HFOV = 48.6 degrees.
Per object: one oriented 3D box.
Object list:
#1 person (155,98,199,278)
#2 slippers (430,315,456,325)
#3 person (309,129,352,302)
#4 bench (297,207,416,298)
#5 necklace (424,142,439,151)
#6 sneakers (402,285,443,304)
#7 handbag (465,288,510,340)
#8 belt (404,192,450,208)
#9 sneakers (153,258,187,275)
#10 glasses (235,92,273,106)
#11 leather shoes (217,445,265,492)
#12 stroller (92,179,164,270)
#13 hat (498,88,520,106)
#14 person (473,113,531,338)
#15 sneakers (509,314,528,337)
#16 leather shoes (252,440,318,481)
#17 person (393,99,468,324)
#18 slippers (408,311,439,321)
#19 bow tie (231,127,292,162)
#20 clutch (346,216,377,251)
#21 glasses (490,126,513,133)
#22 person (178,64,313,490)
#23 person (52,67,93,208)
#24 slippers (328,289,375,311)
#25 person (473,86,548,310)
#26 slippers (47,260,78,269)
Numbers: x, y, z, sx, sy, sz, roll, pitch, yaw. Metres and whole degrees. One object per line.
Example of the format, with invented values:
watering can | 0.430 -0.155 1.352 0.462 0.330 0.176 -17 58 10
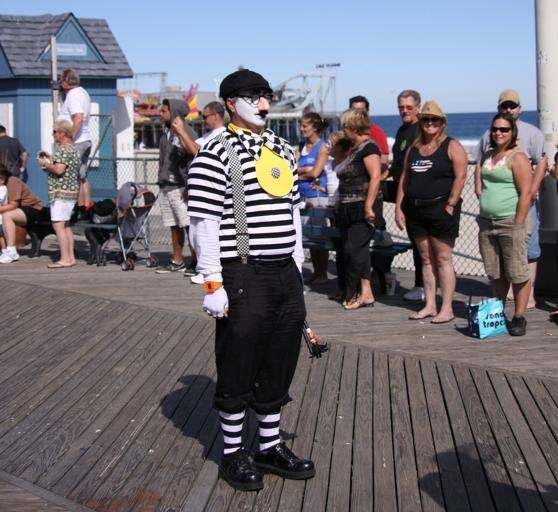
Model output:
person | -1.275 -0.867 7.528 0.621 2.090 0.632 -2 -3 37
slippers | 1.446 0.564 5.489 0.208 0.091 0.071 4 -1 -16
person | 0.682 -0.445 6.680 0.503 1.854 0.448 -4 4 -37
bench | 1.108 -0.095 7.880 1.003 1.244 2.877 -10 -1 7
necklace | 1.288 -0.936 5.314 0.067 0.071 0.019 -36 -19 32
sneakers | 1.429 0.386 6.165 0.210 0.157 0.385 1 2 34
handbag | 1.711 0.495 5.072 0.412 0.354 0.173 -7 14 -20
belt | 1.250 -0.481 5.419 0.123 0.163 0.471 -14 17 -40
sneakers | -1.391 0.158 7.929 0.437 0.184 0.149 0 2 -6
glasses | -0.131 -0.732 2.885 0.102 0.029 0.098 -6 7 -39
leather shoes | -0.187 1.032 3.013 0.117 0.121 0.256 0 -1 -29
stroller | -2.059 -0.473 8.444 0.744 1.363 0.742 18 21 36
hat | 2.110 -1.454 5.693 0.166 0.134 0.155 0 13 10
person | 1.908 -0.268 5.224 0.529 1.712 0.632 2 3 35
sneakers | 1.968 0.577 5.118 0.122 0.138 0.175 4 15 28
leather shoes | 0.016 1.018 3.116 0.334 0.166 0.148 1 0 22
person | 1.332 -0.401 5.453 0.613 1.886 0.517 2 7 43
slippers | 1.284 0.540 5.589 0.266 0.120 0.092 5 2 -6
bow tie | -0.079 -0.529 2.874 0.158 0.088 0.266 41 30 30
clutch | 0.768 -0.208 6.041 0.315 0.452 0.252 4 2 4
glasses | 1.839 -1.055 5.165 0.172 0.049 0.139 7 16 35
person | -0.127 0.112 2.981 0.376 1.964 0.636 5 7 42
person | -2.931 -1.488 8.750 0.451 2.252 0.531 0 8 4
slippers | 0.746 0.454 6.534 0.499 0.207 0.169 9 -3 -18
person | 2.191 -0.370 6.222 0.730 2.235 0.739 -18 25 -19
slippers | -2.898 0.124 8.194 0.289 0.072 0.124 2 0 -29
